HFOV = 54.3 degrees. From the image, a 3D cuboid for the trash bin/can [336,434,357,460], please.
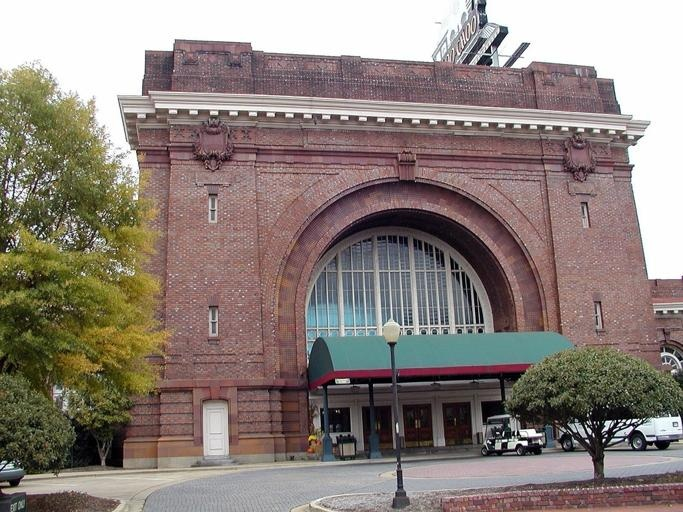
[{"bbox_3d":[0.241,9.717,33.981,0.926,1.289,1.191,-4,-17,-2],"label":"trash bin/can"}]
